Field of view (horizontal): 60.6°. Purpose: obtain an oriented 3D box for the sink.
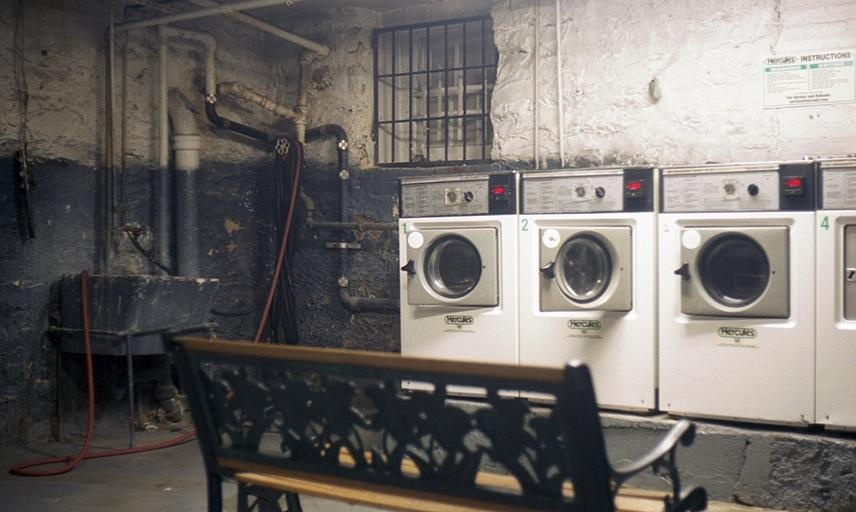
[{"bbox_3d":[-2.606,0.530,6.587,0.991,0.622,1.231,-1,-3,17],"label":"sink"}]
